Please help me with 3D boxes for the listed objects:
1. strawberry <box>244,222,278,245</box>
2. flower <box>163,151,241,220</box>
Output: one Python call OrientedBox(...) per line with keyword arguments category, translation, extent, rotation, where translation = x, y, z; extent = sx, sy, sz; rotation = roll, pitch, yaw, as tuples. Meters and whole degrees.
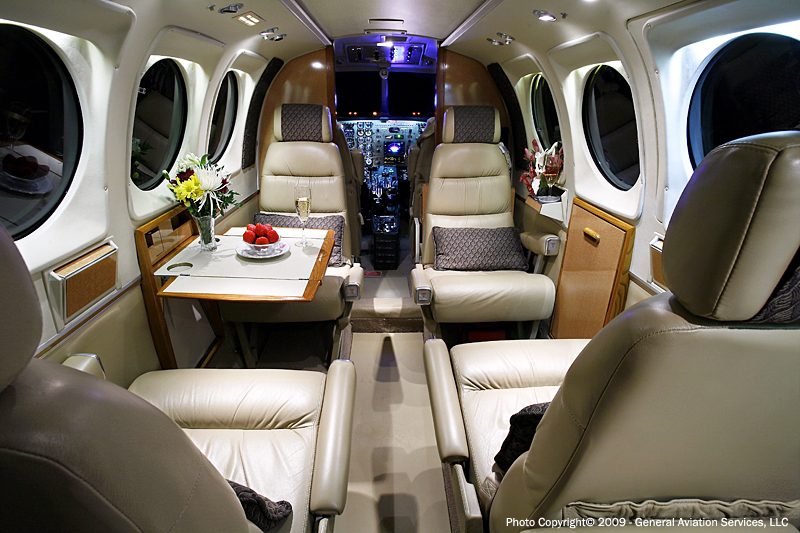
OrientedBox(category="strawberry", translation=(-0.785, -0.211, 2.880), extent=(0.129, 0.090, 0.147), rotation=(10, 12, 29))
OrientedBox(category="flower", translation=(-1.125, -0.442, 2.872), extent=(0.340, 0.355, 0.302), rotation=(-8, 19, -25))
